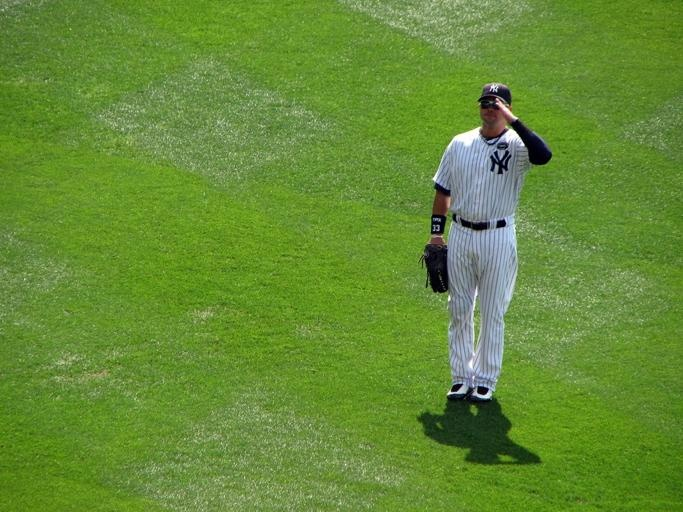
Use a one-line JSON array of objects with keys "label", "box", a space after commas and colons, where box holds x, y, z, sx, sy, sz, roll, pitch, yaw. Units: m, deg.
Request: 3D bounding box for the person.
[{"label": "person", "box": [1.491, -0.133, 14.738, 1.076, 3.243, 1.555, 1, 32, -12]}]
